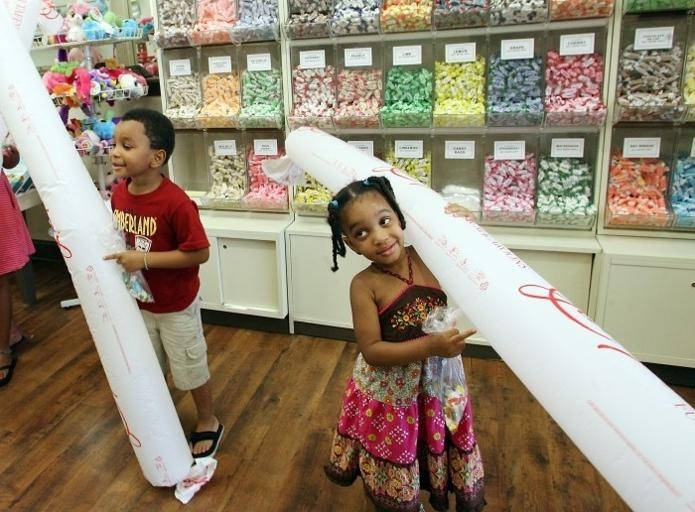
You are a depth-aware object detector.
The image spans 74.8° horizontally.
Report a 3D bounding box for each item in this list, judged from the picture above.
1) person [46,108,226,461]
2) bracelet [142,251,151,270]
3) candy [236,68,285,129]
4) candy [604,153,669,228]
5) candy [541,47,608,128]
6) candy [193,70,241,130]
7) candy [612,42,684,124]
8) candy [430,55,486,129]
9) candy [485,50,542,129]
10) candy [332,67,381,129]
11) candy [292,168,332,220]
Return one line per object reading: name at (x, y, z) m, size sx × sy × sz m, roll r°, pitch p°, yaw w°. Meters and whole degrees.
person at (-0.734, 0.151, 1.891) m, size 0.357 × 1.445 × 0.442 m, roll -8°, pitch 22°, yaw -17°
bracelet at (-0.755, 0.023, 1.720) m, size 0.013 × 0.052 × 0.052 m, roll -5°, pitch 13°, yaw -13°
candy at (-0.503, -0.942, 2.704) m, size 0.300 × 0.452 × 0.244 m, roll 3°, pitch 11°, yaw 13°
candy at (1.483, -0.337, 2.324) m, size 0.283 × 0.345 × 0.171 m, roll 6°, pitch 22°, yaw 19°
candy at (1.137, -0.848, 2.282) m, size 0.290 × 0.355 × 0.184 m, roll 6°, pitch 22°, yaw 19°
candy at (-0.776, -0.971, 2.798) m, size 0.245 × 0.367 × 0.111 m, roll 1°, pitch -6°, yaw 11°
candy at (1.454, -0.841, 2.181) m, size 0.301 × 0.420 × 0.225 m, roll 8°, pitch 16°, yaw 30°
candy at (0.604, -0.883, 2.445) m, size 0.276 × 0.356 × 0.218 m, roll 2°, pitch 21°, yaw 11°
candy at (0.869, -0.866, 2.361) m, size 0.286 × 0.362 × 0.190 m, roll 5°, pitch 22°, yaw 16°
candy at (0.056, -0.896, 2.635) m, size 0.242 × 0.355 × 0.332 m, roll 0°, pitch 2°, yaw -5°
candy at (-0.219, -0.376, 2.719) m, size 0.239 × 0.259 × 0.090 m, roll 2°, pitch 1°, yaw 22°
